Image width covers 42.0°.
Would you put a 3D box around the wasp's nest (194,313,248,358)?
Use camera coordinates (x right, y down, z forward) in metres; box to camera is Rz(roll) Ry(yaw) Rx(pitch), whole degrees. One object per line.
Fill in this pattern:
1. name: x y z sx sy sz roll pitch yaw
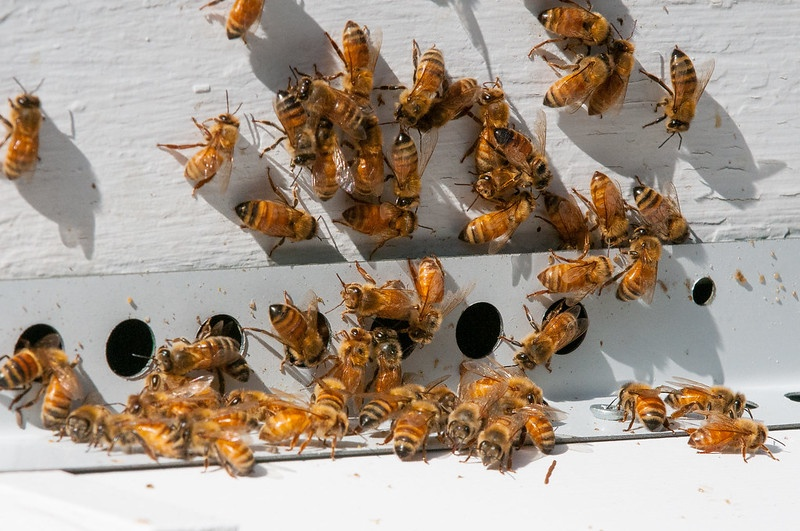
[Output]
1. wasp's nest: -0.960 0.351 5.659 0.272 0.165 0.201 3 55 9

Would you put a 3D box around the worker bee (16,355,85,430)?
1. worker bee: -1.822 0.655 5.479 0.348 0.116 0.403 8 83 3

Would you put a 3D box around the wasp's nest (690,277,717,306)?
1. wasp's nest: 1.710 0.152 5.899 0.136 0.034 0.154 -36 50 41
